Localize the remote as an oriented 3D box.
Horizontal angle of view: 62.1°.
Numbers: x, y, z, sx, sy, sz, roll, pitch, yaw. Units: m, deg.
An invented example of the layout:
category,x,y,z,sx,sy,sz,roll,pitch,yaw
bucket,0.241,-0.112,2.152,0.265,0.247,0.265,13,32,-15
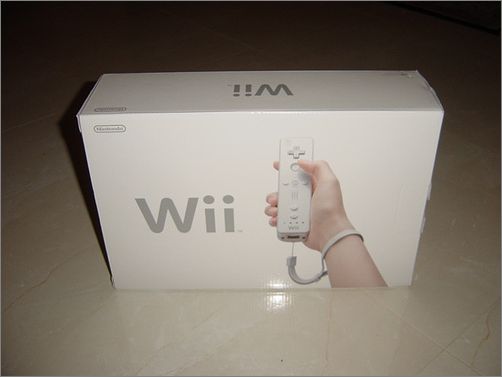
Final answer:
category,x,y,z,sx,sy,sz,roll,pitch,yaw
remote,0.119,0.002,1.084,0.082,0.282,0.079,-2,10,-4
